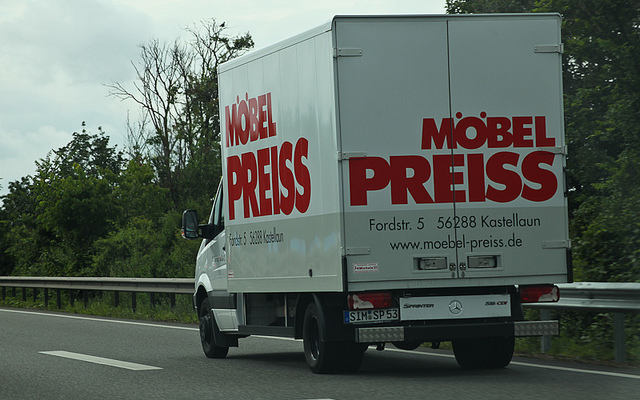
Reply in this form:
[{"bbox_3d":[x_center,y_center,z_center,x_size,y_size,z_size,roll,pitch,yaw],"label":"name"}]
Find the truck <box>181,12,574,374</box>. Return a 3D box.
[{"bbox_3d":[0.664,0.151,16.640,4.107,5.842,9.146,-2,-1,-20],"label":"truck"}]
